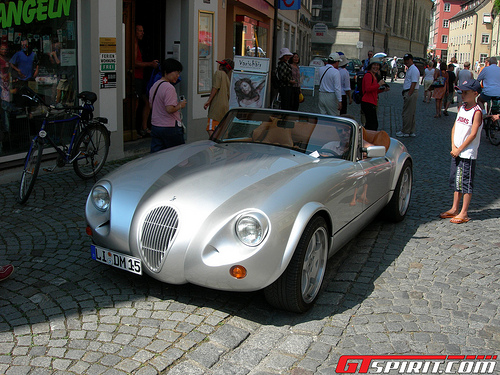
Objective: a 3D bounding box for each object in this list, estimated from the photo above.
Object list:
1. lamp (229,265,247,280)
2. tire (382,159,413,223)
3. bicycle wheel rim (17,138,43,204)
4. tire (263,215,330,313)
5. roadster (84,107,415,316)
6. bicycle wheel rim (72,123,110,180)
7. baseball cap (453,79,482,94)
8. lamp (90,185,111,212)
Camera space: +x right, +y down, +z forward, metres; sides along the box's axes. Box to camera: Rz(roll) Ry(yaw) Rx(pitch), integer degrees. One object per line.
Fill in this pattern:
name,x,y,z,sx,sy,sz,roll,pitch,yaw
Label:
lamp,-0.092,0.681,2.876,0.113,0.125,0.029,-1,17,6
tire,2.222,0.047,5.553,0.220,0.740,0.717,5,-28,25
bicycle wheel rim,-3.713,-0.237,6.224,0.201,1.009,0.980,18,-16,-31
tire,0.381,0.665,3.158,0.250,0.652,0.633,16,38,28
roadster,0.161,0.024,4.150,2.021,1.712,3.428,16,20,41
bicycle wheel rim,-3.026,-0.687,7.302,0.891,1.016,0.889,8,-3,-27
baseball cap,3.492,-1.590,5.830,0.387,0.222,0.261,0,13,5
lamp,-1.453,0.120,3.623,0.212,0.265,0.084,-6,-9,24
